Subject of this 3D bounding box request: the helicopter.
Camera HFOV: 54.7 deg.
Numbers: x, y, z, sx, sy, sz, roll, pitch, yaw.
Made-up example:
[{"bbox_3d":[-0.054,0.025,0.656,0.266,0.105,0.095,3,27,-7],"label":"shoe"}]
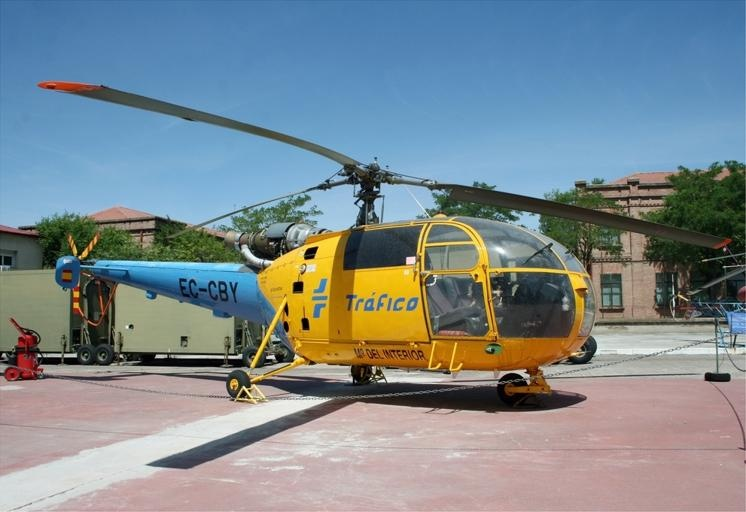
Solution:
[{"bbox_3d":[0.056,0.509,16.800,12.646,6.259,4.871,2,8,30],"label":"helicopter"}]
